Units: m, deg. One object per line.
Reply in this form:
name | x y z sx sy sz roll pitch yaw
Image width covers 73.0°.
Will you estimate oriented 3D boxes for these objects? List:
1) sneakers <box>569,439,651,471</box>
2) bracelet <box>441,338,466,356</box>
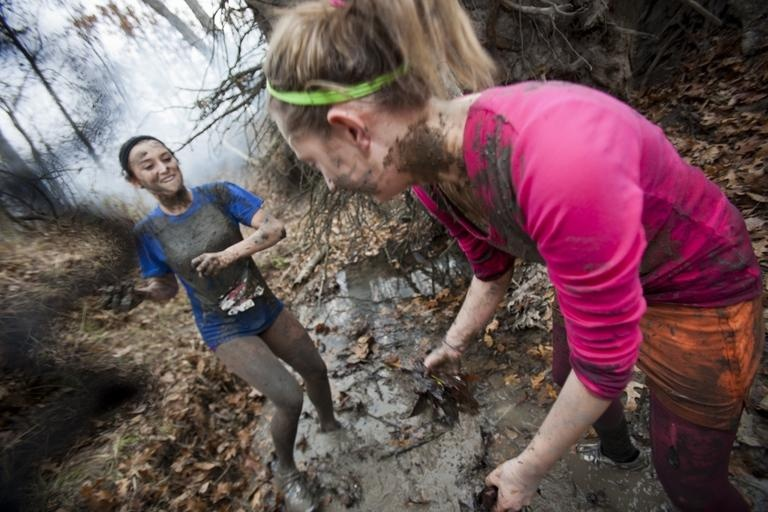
sneakers | 2.122 1.854 4.889 0.661 0.271 0.246 6 51 36
bracelet | 0.621 0.801 4.633 0.165 0.169 0.125 5 -2 -7
